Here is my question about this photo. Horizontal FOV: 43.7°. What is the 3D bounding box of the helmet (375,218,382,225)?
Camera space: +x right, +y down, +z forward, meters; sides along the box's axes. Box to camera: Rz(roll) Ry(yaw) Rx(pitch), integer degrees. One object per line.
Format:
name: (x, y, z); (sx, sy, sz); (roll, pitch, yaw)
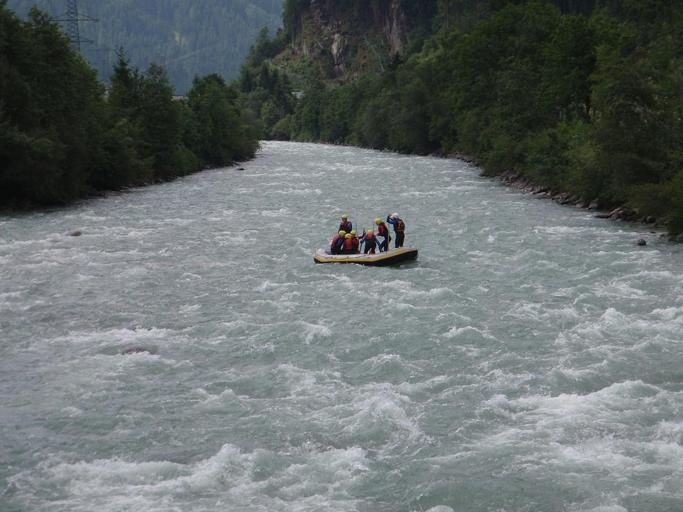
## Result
helmet: (2.093, -1.912, 48.012); (0.416, 0.270, 0.309); (10, -34, -10)

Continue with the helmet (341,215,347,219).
helmet: (0.163, -2.181, 48.603); (0.234, 0.262, 0.305); (5, 29, 22)

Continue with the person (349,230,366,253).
person: (0.900, -0.757, 48.679); (0.903, 0.889, 2.633); (10, 11, 6)

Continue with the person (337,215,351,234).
person: (0.262, -1.830, 48.730); (0.644, 1.014, 1.262); (0, 14, 3)

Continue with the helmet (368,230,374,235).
helmet: (1.668, -1.290, 48.140); (0.369, 0.239, 0.270); (-13, -36, 6)

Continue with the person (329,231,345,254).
person: (-0.291, -0.768, 48.137); (0.918, 1.179, 0.477); (-11, 29, -37)
